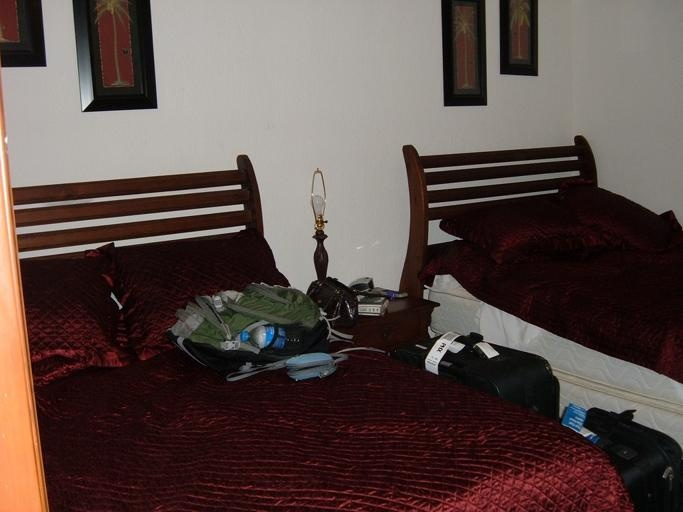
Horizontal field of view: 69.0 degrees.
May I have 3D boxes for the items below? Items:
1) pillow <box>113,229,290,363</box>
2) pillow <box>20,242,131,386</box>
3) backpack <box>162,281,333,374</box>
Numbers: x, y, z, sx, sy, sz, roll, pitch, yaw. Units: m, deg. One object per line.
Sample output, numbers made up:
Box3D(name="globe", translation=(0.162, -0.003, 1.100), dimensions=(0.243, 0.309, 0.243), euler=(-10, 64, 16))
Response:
Box3D(name="pillow", translation=(-0.668, 0.197, 2.277), dimensions=(0.573, 0.157, 0.557), euler=(-9, 50, -20))
Box3D(name="pillow", translation=(-1.038, 0.213, 1.926), dimensions=(0.432, 0.498, 0.122), euler=(-4, -25, -44))
Box3D(name="backpack", translation=(-0.319, 0.292, 1.937), dimensions=(0.438, 0.180, 0.340), euler=(-11, 20, -38))
